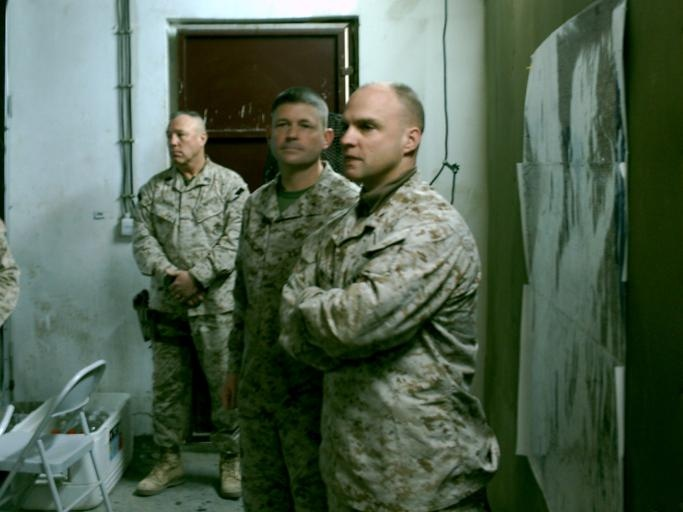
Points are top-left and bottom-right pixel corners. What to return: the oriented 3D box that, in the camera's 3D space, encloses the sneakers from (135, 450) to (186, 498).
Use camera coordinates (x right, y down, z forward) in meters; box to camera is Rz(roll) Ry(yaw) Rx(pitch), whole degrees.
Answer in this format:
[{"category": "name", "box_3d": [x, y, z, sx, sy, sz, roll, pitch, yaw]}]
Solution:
[{"category": "sneakers", "box_3d": [-0.955, 1.150, 4.567, 0.113, 0.196, 0.318, -8, -3, 35]}]
